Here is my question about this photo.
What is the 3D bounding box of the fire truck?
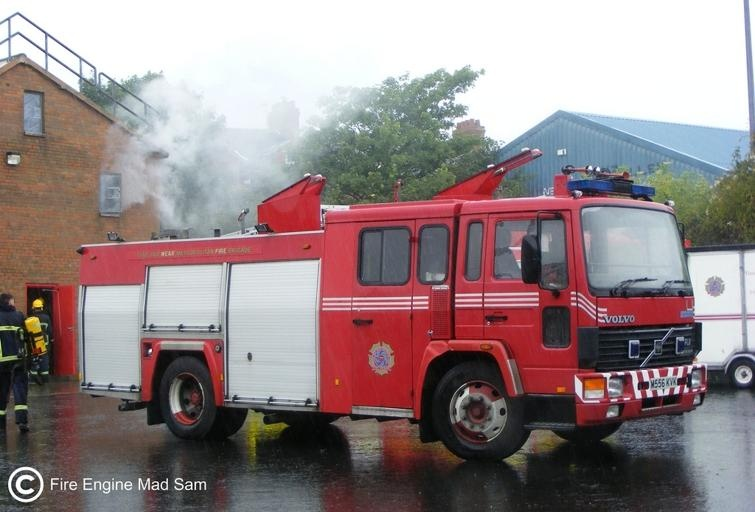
[{"bbox_3d":[0.047,0.908,14.609,9.585,4.456,4.651,-5,-6,31],"label":"fire truck"}]

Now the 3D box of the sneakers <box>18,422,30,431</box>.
[{"bbox_3d":[-6.461,3.116,15.042,0.172,0.174,0.305,-2,1,-24],"label":"sneakers"}]

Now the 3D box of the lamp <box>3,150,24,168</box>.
[{"bbox_3d":[-11.002,-2.940,24.879,0.486,0.487,0.249,-2,1,-29],"label":"lamp"}]

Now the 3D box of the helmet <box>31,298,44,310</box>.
[{"bbox_3d":[-8.679,1.228,21.009,0.309,0.277,0.465,3,-15,-31],"label":"helmet"}]
